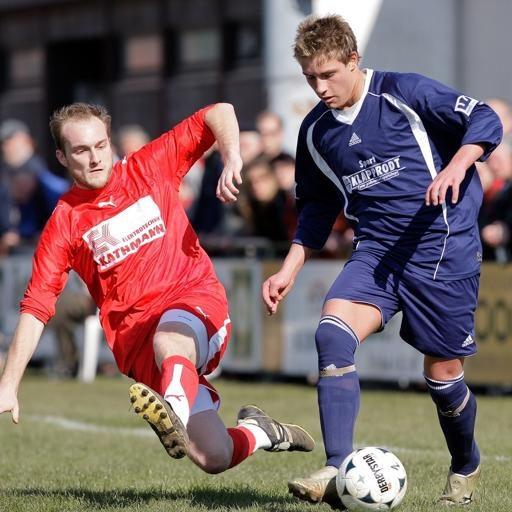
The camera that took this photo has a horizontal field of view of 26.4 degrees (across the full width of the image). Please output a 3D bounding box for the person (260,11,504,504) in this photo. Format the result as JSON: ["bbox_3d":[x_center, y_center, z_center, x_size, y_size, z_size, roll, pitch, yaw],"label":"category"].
[{"bbox_3d":[0.617,-0.133,5.332,1.099,2.105,0.908,-1,8,13],"label":"person"}]

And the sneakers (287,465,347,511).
[{"bbox_3d":[0.282,1.047,4.985,0.345,0.170,0.120,24,-26,-36],"label":"sneakers"}]

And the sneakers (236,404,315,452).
[{"bbox_3d":[0.126,0.942,5.700,0.379,0.159,0.132,0,-8,-23],"label":"sneakers"}]

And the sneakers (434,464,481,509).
[{"bbox_3d":[1.029,1.158,5.493,0.096,0.119,0.292,1,-2,29],"label":"sneakers"}]
